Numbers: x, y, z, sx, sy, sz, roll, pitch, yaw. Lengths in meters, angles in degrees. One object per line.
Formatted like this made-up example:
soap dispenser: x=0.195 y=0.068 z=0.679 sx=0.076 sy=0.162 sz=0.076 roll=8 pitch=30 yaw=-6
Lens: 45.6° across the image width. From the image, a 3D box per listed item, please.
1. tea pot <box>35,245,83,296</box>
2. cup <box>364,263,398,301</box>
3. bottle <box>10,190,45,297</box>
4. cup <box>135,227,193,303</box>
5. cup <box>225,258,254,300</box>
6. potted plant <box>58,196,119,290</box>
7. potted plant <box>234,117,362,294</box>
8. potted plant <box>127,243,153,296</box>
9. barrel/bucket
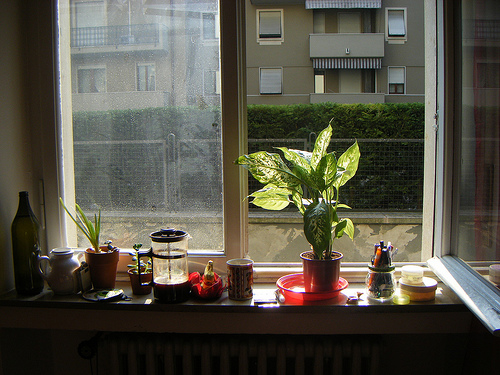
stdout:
tea pot: x=-0.795 y=0.353 z=2.496 sx=0.186 sy=0.182 sz=0.143 roll=-5 pitch=6 yaw=-35
cup: x=0.540 y=0.388 z=2.452 sx=0.124 sy=0.135 sz=0.122 roll=0 pitch=5 yaw=0
bottle: x=-0.927 y=0.233 z=2.464 sx=0.108 sy=0.427 sz=0.071 roll=-6 pitch=9 yaw=-22
cup: x=-0.350 y=0.332 z=2.486 sx=0.226 sy=0.289 sz=0.181 roll=-3 pitch=6 yaw=-16
cup: x=-0.038 y=0.383 z=2.496 sx=0.131 sy=0.159 sz=0.130 roll=1 pitch=2 yaw=0
potted plant: x=-0.654 y=0.249 z=2.513 sx=0.193 sy=0.362 sz=0.122 roll=-3 pitch=1 yaw=-13
potted plant: x=0.204 y=0.069 z=2.479 sx=0.504 sy=0.671 sz=0.405 roll=-2 pitch=9 yaw=10
potted plant: x=-0.459 y=0.343 z=2.491 sx=0.103 sy=0.213 sz=0.125 roll=-4 pitch=4 yaw=-8
barrel/bucket: x=0.283 y=0.335 z=2.414 sx=0.137 sy=0.117 sz=0.150 roll=0 pitch=1 yaw=0
